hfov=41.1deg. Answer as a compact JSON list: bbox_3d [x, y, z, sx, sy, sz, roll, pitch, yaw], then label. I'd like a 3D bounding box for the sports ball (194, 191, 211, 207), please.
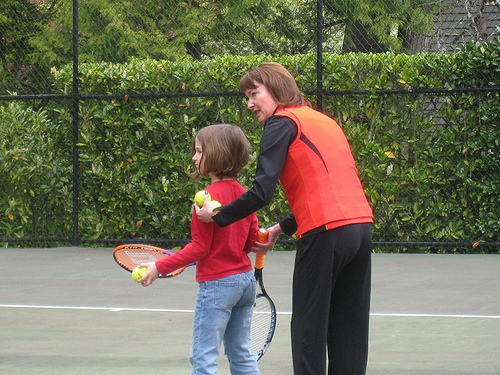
[{"bbox_3d":[-0.322,0.081,4.528,0.094,0.122,0.097,1,1,0],"label":"sports ball"}]

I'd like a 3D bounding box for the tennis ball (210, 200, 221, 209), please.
[{"bbox_3d":[-0.235,0.115,4.534,0.069,0.043,0.144,-1,7,-4],"label":"tennis ball"}]

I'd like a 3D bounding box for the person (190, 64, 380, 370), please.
[{"bbox_3d":[0.337,0.231,4.624,0.997,2.158,0.458,1,7,8],"label":"person"}]

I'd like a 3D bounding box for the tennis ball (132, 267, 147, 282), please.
[{"bbox_3d":[-0.767,0.590,4.627,0.085,0.107,0.088,-4,32,3],"label":"tennis ball"}]

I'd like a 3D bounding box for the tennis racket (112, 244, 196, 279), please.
[{"bbox_3d":[-0.693,0.520,4.932,0.643,0.050,0.282,12,-33,21],"label":"tennis racket"}]
